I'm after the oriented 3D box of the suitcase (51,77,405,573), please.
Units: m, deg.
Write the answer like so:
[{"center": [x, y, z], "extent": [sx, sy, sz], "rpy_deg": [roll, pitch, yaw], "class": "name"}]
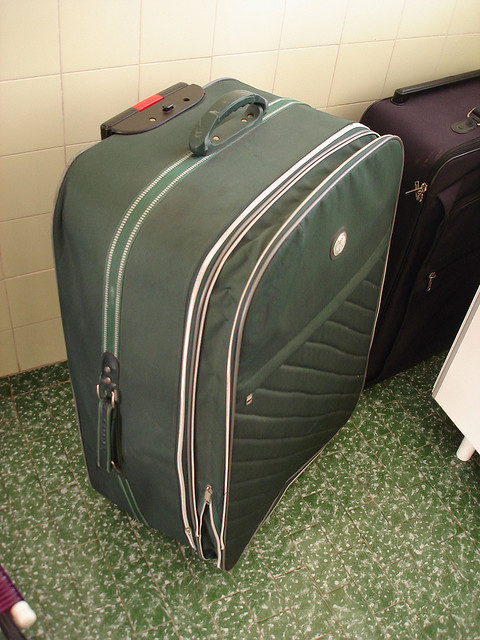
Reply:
[{"center": [-0.050, 0.010, 1.015], "extent": [0.409, 0.814, 0.552], "rpy_deg": [29, 46, 25], "class": "suitcase"}]
